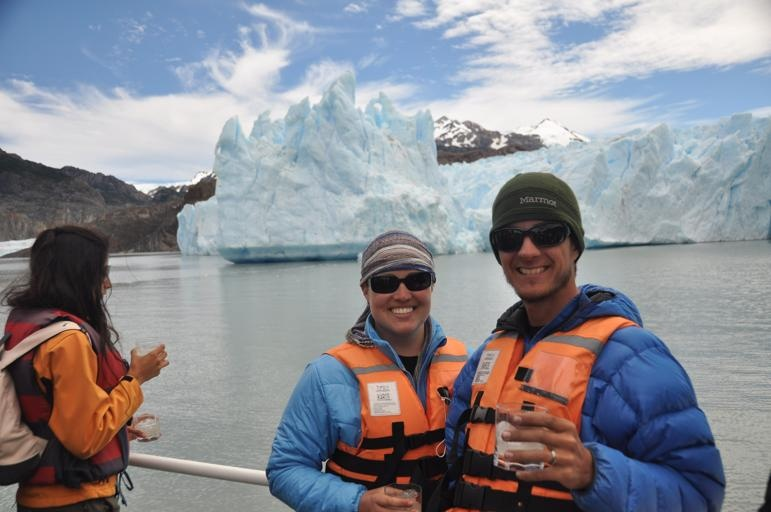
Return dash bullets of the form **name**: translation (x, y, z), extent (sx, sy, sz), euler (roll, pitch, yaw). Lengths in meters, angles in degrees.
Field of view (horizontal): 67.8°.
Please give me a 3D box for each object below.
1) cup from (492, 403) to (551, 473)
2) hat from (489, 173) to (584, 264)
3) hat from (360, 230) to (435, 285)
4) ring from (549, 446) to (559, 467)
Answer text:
- **cup**: translation (0.463, 0.685, 2.179), extent (0.228, 0.243, 0.243), euler (1, -9, 0)
- **hat**: translation (0.679, -0.185, 2.675), extent (0.458, 0.370, 0.457), euler (0, -10, -1)
- **hat**: translation (0.046, -0.009, 2.921), extent (0.371, 0.259, 0.380), euler (-3, -6, 26)
- **ring**: translation (0.599, 0.722, 2.044), extent (0.022, 0.046, 0.037), euler (6, 5, 4)
